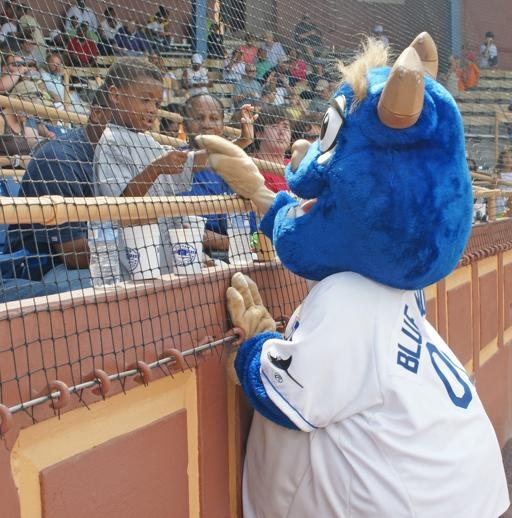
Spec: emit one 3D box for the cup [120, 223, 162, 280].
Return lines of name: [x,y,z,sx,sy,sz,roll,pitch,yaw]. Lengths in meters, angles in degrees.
cup: [-0.314,-0.019,1.878,0.112,0.172,0.128,-4,-11,-4]

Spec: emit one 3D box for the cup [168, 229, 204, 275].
cup: [-0.197,-0.022,1.969,0.093,0.148,0.110,-1,-5,-5]
